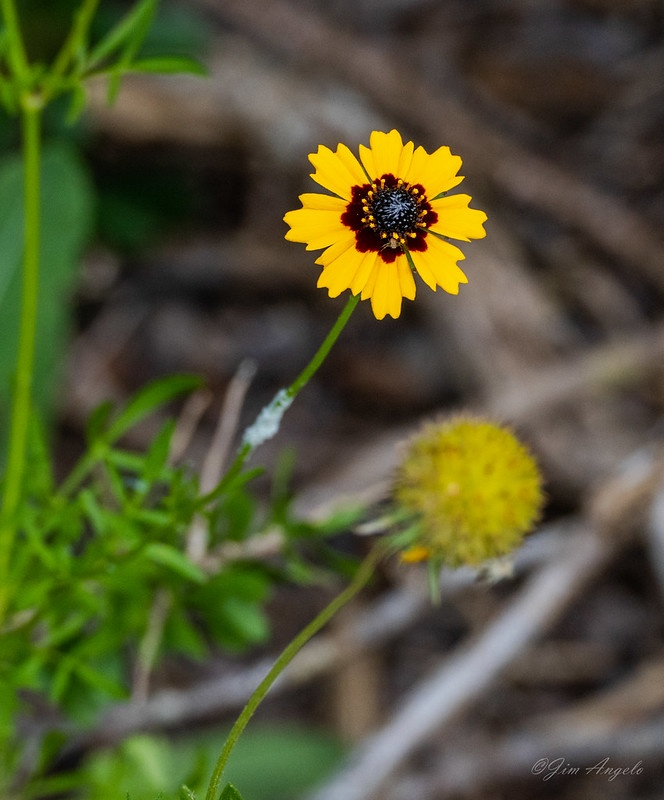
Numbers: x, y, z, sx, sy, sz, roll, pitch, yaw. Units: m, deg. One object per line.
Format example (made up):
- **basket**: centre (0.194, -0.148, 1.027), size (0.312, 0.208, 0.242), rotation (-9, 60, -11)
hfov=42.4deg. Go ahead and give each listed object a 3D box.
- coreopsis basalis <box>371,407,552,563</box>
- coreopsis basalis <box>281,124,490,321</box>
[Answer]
- **coreopsis basalis**: centre (0.132, 0.087, 0.843), size (0.149, 0.055, 0.150), rotation (-26, 71, -6)
- **coreopsis basalis**: centre (0.053, -0.211, 0.899), size (0.162, 0.160, 0.058), rotation (2, 77, -32)
